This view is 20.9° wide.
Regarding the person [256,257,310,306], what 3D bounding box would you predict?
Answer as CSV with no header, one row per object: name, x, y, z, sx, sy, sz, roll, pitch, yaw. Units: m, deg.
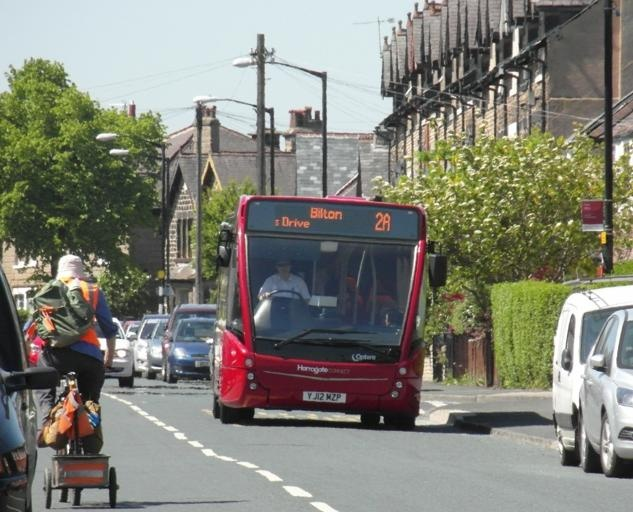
person,-0.478,0.585,26.304,0.768,1.156,0.651,-3,8,-16

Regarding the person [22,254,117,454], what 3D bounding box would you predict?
person,-2.830,1.049,19.905,0.885,2.519,1.073,2,0,-15

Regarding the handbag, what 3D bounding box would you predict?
handbag,-2.762,1.863,19.417,0.489,0.824,0.927,3,-4,-11

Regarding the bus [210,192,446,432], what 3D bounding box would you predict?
bus,0.163,0.726,26.622,2.976,3.341,1.329,-1,-4,4
